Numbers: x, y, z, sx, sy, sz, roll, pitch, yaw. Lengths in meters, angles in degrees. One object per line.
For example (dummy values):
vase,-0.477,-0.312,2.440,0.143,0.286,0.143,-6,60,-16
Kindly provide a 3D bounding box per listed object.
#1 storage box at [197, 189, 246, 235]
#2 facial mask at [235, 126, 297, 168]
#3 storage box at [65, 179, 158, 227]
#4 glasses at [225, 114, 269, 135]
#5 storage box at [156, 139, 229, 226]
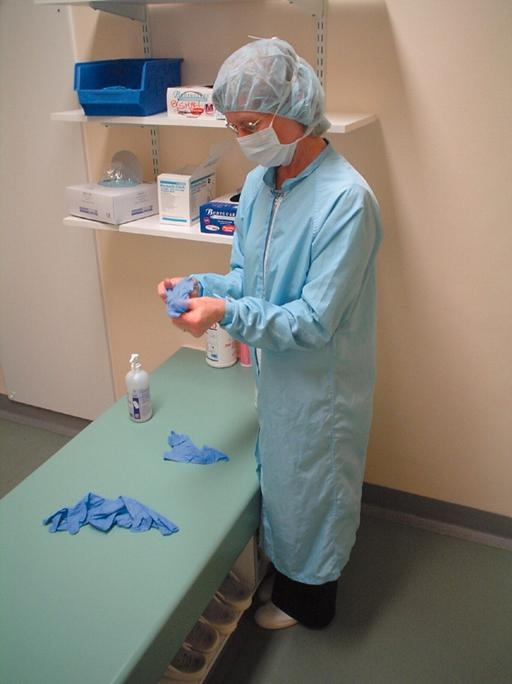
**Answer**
storage box,-0.094,-0.383,1.656,0.142,0.098,0.144,10,24,22
facial mask,0.025,-0.394,1.127,0.077,0.050,0.070,-43,29,2
storage box,-0.488,-0.461,1.772,0.190,0.074,0.203,15,28,26
glasses,-0.022,-0.436,1.085,0.062,0.021,0.058,-39,39,-25
storage box,-0.191,-0.506,1.744,0.172,0.239,0.246,17,41,19
